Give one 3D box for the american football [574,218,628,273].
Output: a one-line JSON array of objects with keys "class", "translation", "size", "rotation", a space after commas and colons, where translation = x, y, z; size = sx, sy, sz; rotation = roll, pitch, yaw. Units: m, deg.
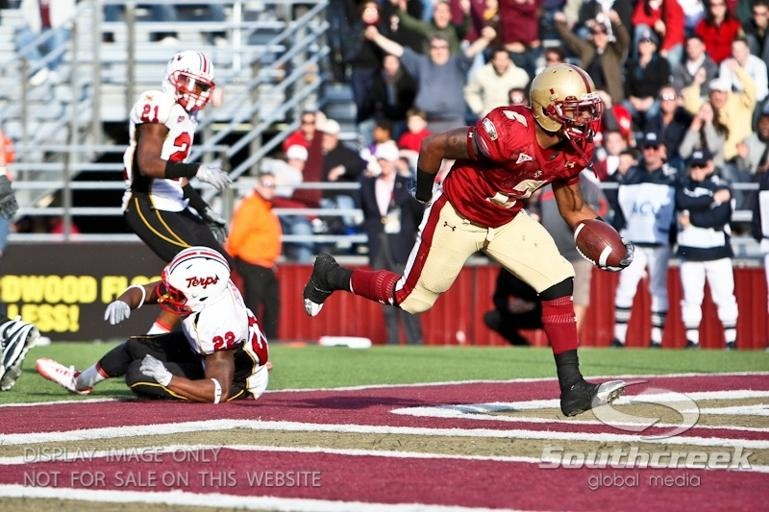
[{"class": "american football", "translation": [1.829, -0.060, 11.649], "size": [0.473, 0.287, 0.324], "rotation": [34, 11, 20]}]
